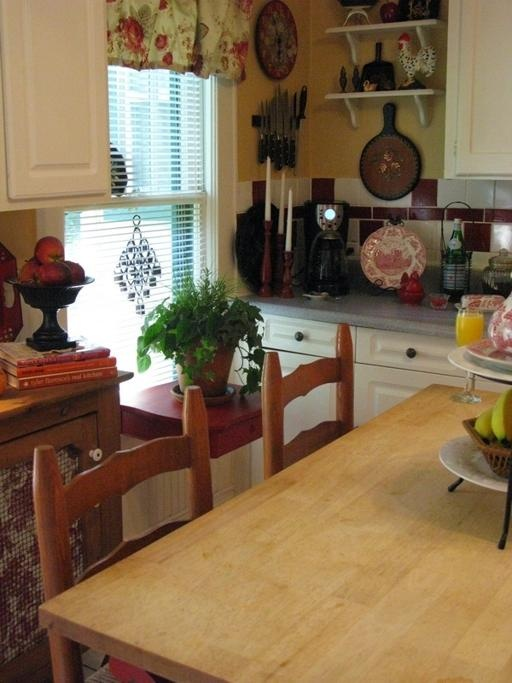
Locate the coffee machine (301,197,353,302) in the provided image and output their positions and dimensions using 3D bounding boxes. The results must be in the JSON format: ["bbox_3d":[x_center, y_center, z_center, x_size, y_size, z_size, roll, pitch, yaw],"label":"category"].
[{"bbox_3d":[0.351,-0.465,2.856,0.228,0.487,0.357,-1,5,6],"label":"coffee machine"}]

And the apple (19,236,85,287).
[{"bbox_3d":[-0.558,-0.204,1.565,0.157,0.146,0.151,-2,8,-25],"label":"apple"}]

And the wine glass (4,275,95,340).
[{"bbox_3d":[-0.567,-0.115,1.596,0.200,0.132,0.196,-2,8,-13],"label":"wine glass"}]

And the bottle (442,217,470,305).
[{"bbox_3d":[0.936,-0.376,2.673,0.145,0.372,0.151,-1,5,0],"label":"bottle"}]

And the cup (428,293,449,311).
[{"bbox_3d":[0.805,-0.179,2.517,0.078,0.054,0.076,-1,7,0],"label":"cup"}]

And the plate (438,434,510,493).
[{"bbox_3d":[0.370,0.195,0.985,0.095,0.028,0.093,-6,12,-29],"label":"plate"}]

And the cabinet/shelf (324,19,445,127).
[{"bbox_3d":[0.678,-1.382,2.917,0.614,0.534,0.206,5,13,34],"label":"cabinet/shelf"}]

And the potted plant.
[{"bbox_3d":[-0.237,-0.025,2.149,0.451,0.392,0.441,-1,2,-26],"label":"potted plant"}]
